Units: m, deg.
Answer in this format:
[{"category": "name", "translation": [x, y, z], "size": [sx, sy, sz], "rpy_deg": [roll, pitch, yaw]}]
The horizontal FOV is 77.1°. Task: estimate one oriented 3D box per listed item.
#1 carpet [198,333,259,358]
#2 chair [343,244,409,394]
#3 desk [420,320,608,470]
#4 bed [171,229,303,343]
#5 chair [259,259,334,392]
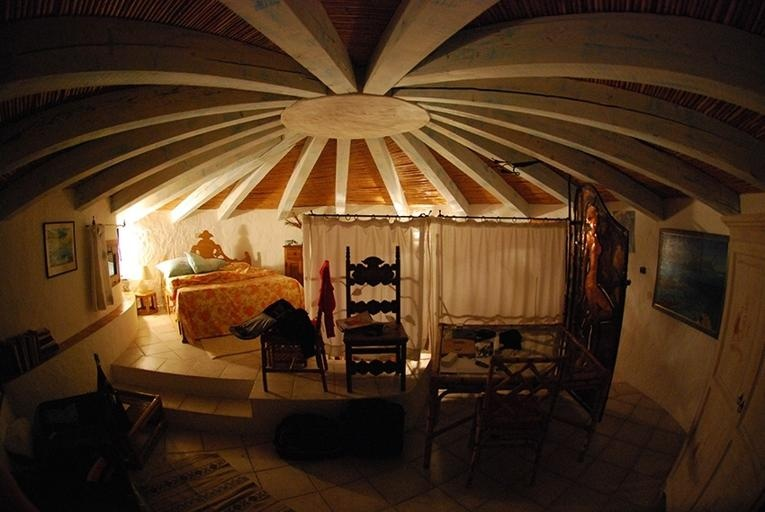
[{"category": "carpet", "translation": [-2.299, 1.332, 7.142], "size": [0.843, 0.120, 0.850], "rpy_deg": [-6, 7, -33]}, {"category": "chair", "translation": [-0.149, 0.764, 6.174], "size": [0.853, 1.741, 1.208], "rpy_deg": [-3, 6, 0]}, {"category": "desk", "translation": [1.315, 1.374, 5.673], "size": [1.817, 0.904, 1.319], "rpy_deg": [-3, 5, 29]}, {"category": "bed", "translation": [-2.867, 0.483, 8.666], "size": [2.059, 1.538, 2.742], "rpy_deg": [-3, 7, -31]}, {"category": "chair", "translation": [-1.123, 0.966, 6.136], "size": [1.033, 1.405, 0.954], "rpy_deg": [-3, -3, 2]}]
